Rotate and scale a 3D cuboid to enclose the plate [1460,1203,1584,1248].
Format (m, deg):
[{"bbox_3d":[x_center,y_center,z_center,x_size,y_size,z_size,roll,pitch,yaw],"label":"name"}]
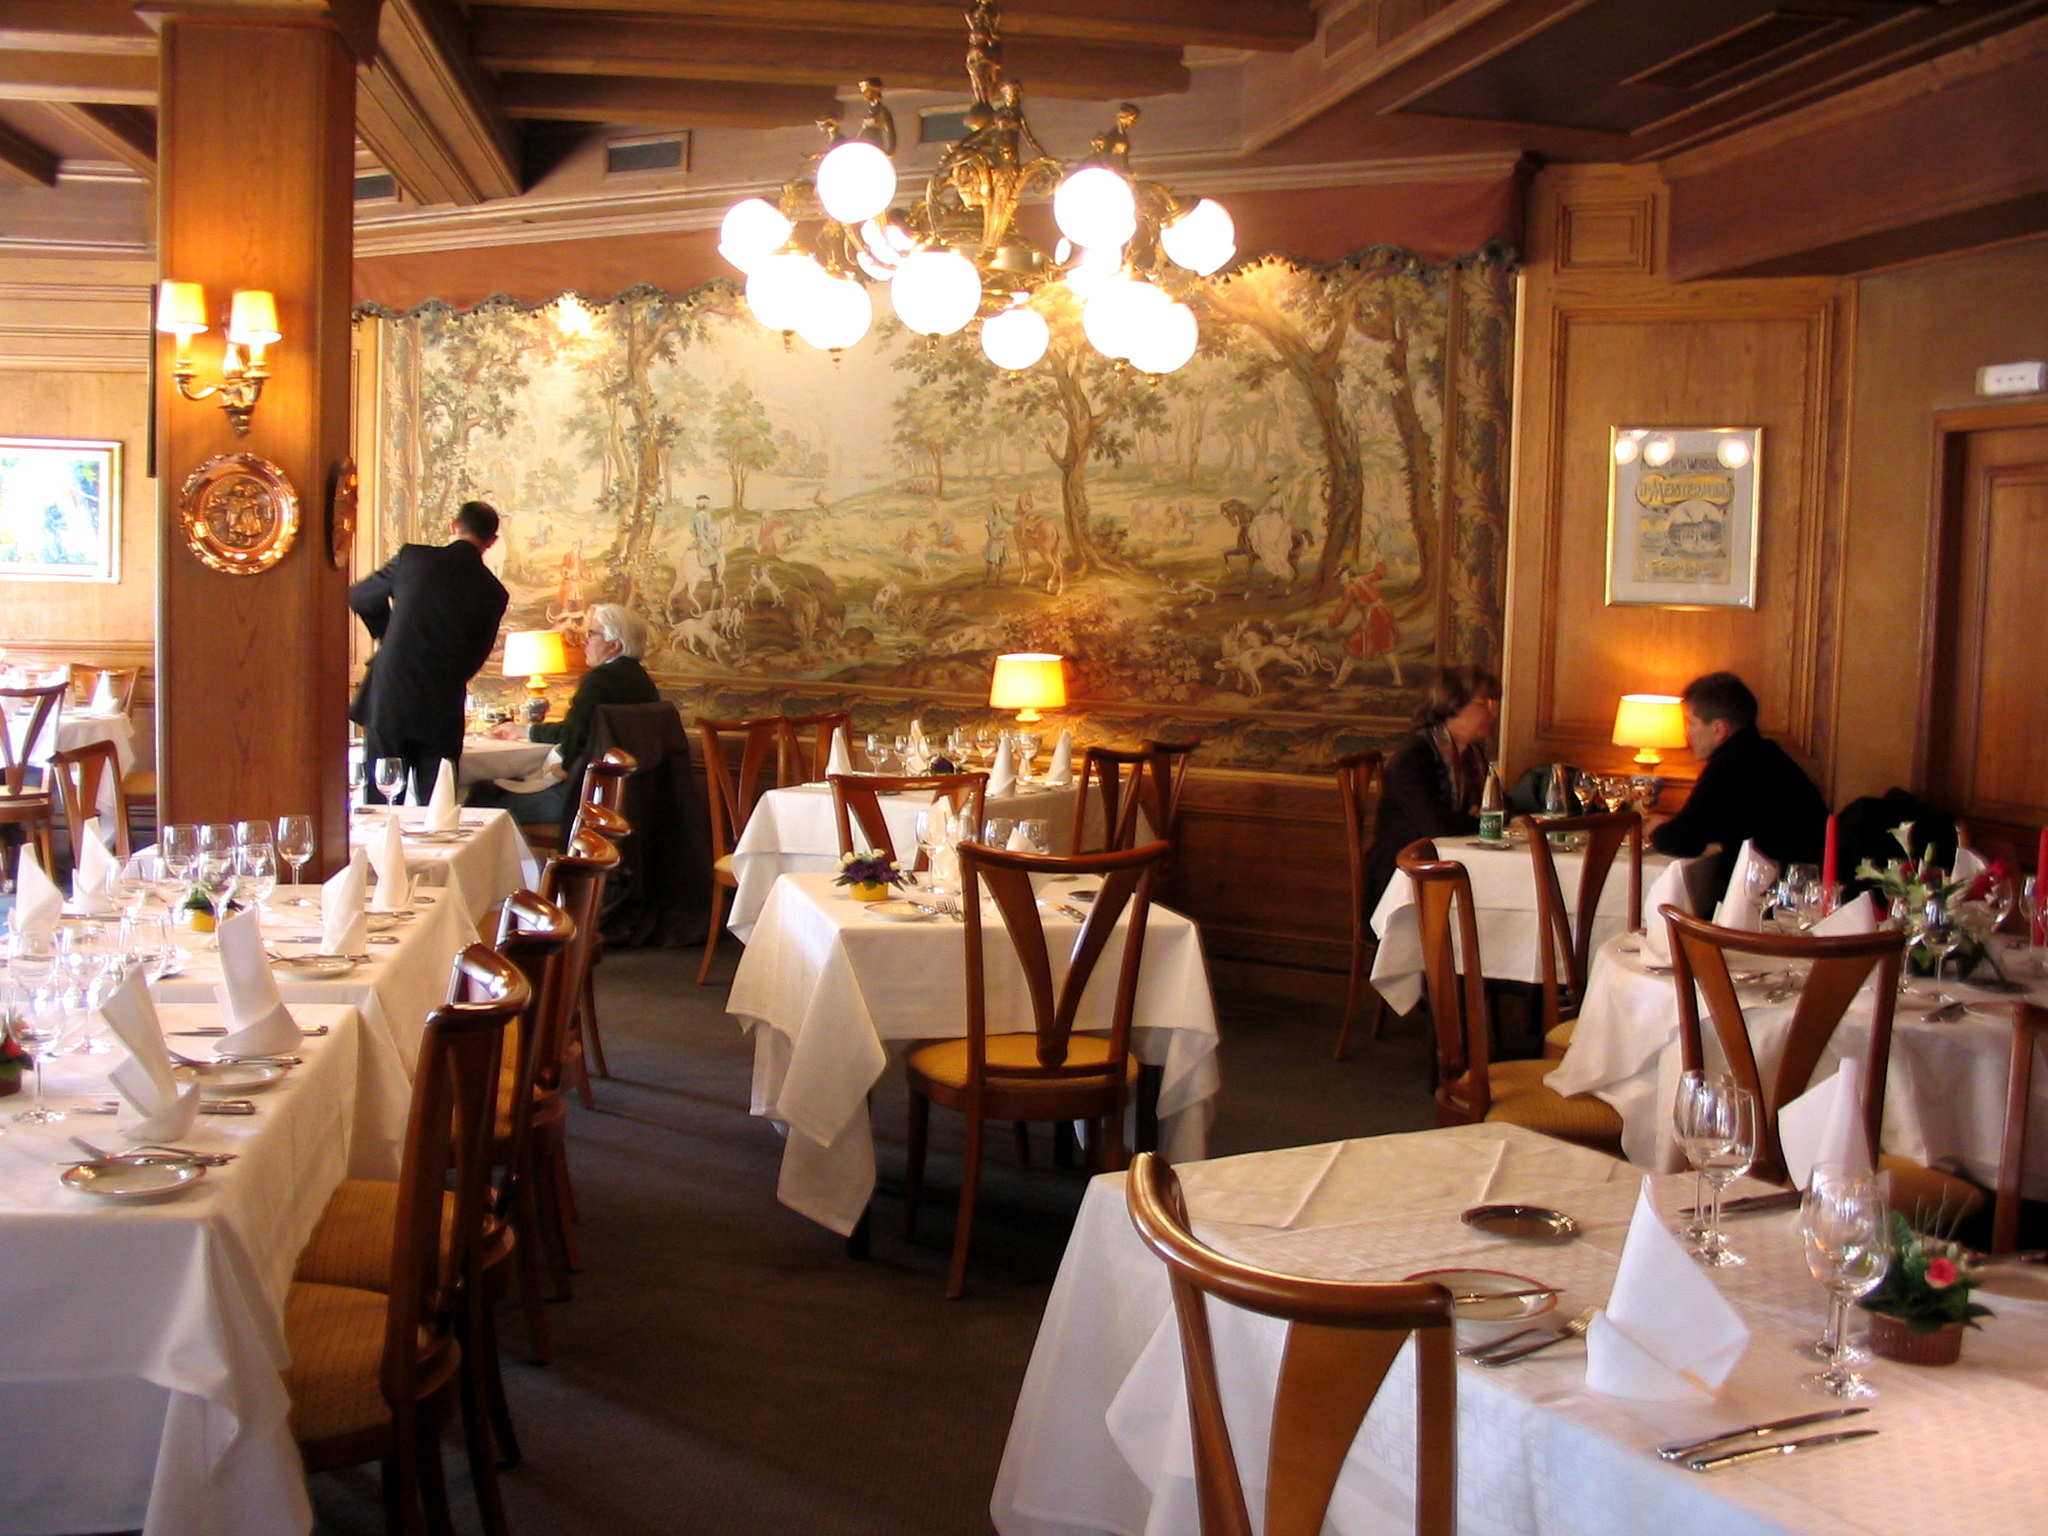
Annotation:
[{"bbox_3d":[0.818,0.745,2.643,0.173,0.020,0.165,7,9,37],"label":"plate"}]

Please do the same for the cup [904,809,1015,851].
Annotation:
[{"bbox_3d":[-0.199,0.181,5.248,0.312,0.134,0.199,4,0,0],"label":"cup"}]

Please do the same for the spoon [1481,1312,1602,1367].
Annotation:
[{"bbox_3d":[0.725,0.814,2.271,0.222,0.018,0.060,-3,8,-33],"label":"spoon"}]

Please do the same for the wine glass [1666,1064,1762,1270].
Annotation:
[{"bbox_3d":[1.129,0.622,2.642,0.113,0.291,0.305,5,8,25],"label":"wine glass"}]

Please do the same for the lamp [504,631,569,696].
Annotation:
[{"bbox_3d":[-3.007,-0.686,9.972,0.381,0.359,0.390,-3,13,-7],"label":"lamp"}]

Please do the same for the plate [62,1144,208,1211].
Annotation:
[{"bbox_3d":[-1.449,0.669,2.619,0.221,0.027,0.182,0,7,-12],"label":"plate"}]

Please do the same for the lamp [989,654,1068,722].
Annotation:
[{"bbox_3d":[0.014,-0.442,8.490,0.358,0.308,0.370,-3,3,19],"label":"lamp"}]

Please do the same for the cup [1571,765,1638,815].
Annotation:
[{"bbox_3d":[2.599,0.102,7.297,0.228,0.178,0.198,0,2,-11],"label":"cup"}]

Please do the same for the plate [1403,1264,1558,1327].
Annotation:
[{"bbox_3d":[0.701,0.782,2.413,0.204,0.027,0.169,0,7,-14],"label":"plate"}]

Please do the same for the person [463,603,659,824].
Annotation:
[{"bbox_3d":[-2.586,-0.169,8.975,0.892,1.477,0.924,12,5,30],"label":"person"}]

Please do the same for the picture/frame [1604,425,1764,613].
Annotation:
[{"bbox_3d":[3.124,-1.196,7.569,0.818,1.149,0.046,2,6,18],"label":"picture/frame"}]

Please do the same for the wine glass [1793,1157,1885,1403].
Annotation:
[{"bbox_3d":[1.149,0.689,2.265,0.106,0.289,0.277,6,8,29],"label":"wine glass"}]
